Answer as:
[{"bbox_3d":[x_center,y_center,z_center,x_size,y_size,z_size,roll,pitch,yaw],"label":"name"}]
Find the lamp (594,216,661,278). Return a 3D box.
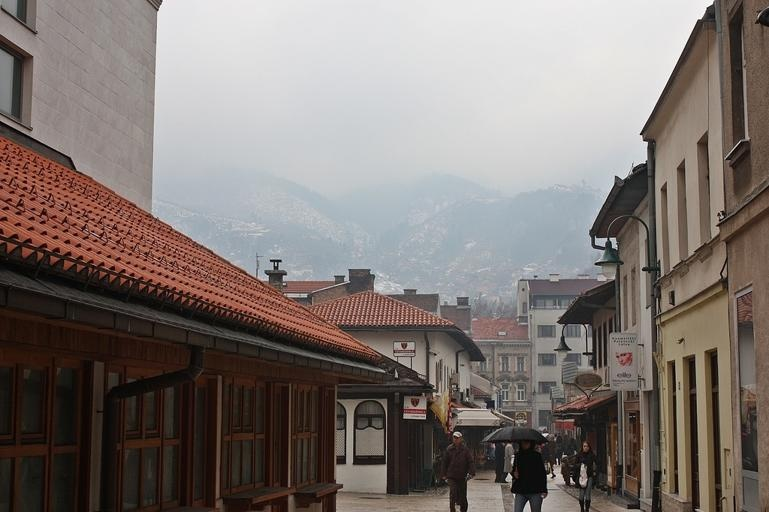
[{"bbox_3d":[6.149,-0.317,24.840,1.685,1.600,0.757,-2,-9,15],"label":"lamp"}]

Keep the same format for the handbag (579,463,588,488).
[{"bbox_3d":[5.224,5.814,25.555,0.171,0.544,0.271,13,-2,-37],"label":"handbag"}]
